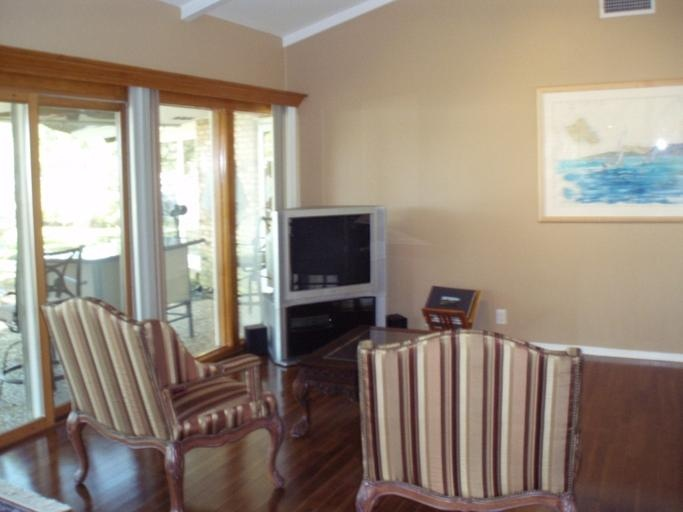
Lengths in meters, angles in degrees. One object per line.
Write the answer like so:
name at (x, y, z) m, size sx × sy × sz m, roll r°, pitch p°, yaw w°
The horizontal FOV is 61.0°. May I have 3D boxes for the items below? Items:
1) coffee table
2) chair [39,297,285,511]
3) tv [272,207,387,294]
coffee table at (0.120, 0.791, 4.192) m, size 0.835 × 0.436 × 1.023 m, roll 3°, pitch 6°, yaw 26°
chair at (-1.026, 0.802, 3.810) m, size 1.272 × 1.490 × 1.341 m, roll 3°, pitch 5°, yaw 35°
tv at (-0.154, -0.062, 5.364) m, size 0.861 × 0.638 × 0.318 m, roll -3°, pitch 8°, yaw -22°
